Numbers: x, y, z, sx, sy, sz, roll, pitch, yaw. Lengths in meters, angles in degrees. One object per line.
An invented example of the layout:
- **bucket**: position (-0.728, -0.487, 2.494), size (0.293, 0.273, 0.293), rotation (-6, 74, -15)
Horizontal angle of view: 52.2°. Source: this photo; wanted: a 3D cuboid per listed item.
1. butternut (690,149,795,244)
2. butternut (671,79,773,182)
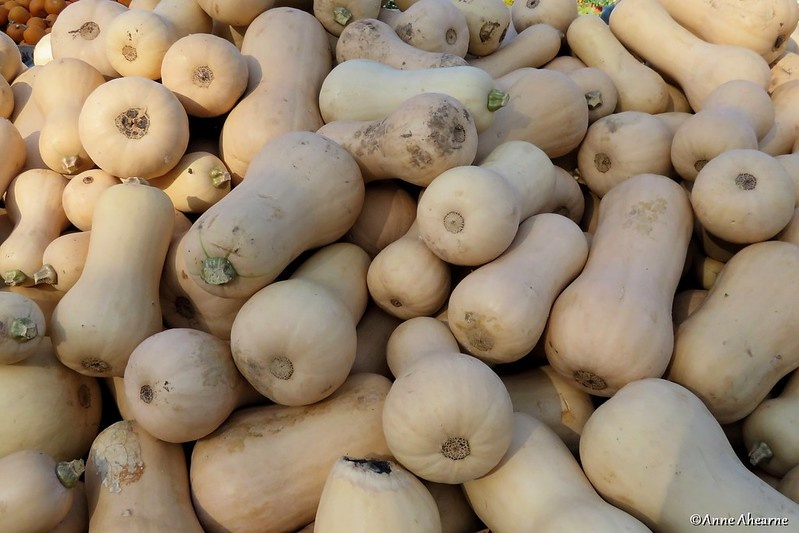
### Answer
- **butternut**: position (1.458, -0.289, 3.436), size (0.431, 0.285, 0.339), rotation (13, 64, 19)
- **butternut**: position (1.475, -0.681, 3.670), size (0.304, 0.301, 0.601), rotation (27, 58, 37)
